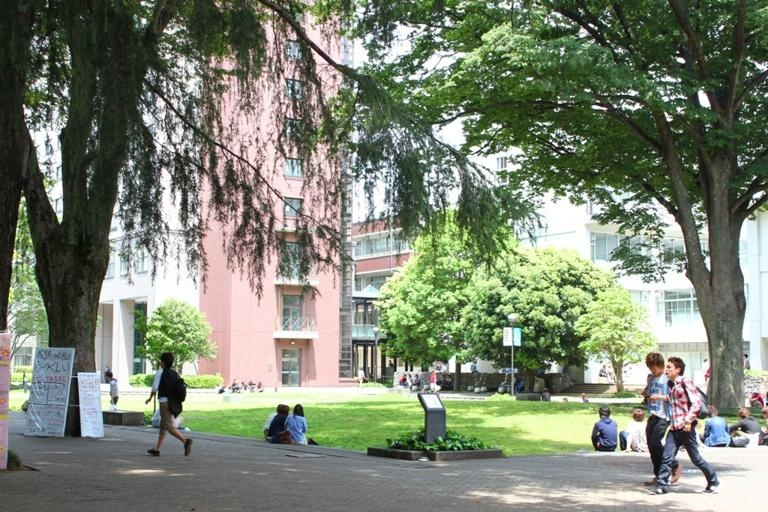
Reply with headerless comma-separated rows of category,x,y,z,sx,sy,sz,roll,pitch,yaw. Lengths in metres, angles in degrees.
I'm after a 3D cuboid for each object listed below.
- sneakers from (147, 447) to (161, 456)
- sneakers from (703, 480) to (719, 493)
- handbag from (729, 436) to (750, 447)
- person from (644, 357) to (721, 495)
sneakers,-5.229,4.521,18.830,0.159,0.186,0.432,6,-2,-40
sneakers,6.194,4.398,15.574,0.251,0.234,0.441,-6,-11,24
handbag,9.833,5.132,22.644,0.380,0.159,0.285,1,-2,-26
person,5.712,3.223,15.689,0.943,2.562,1.112,-8,-12,35
